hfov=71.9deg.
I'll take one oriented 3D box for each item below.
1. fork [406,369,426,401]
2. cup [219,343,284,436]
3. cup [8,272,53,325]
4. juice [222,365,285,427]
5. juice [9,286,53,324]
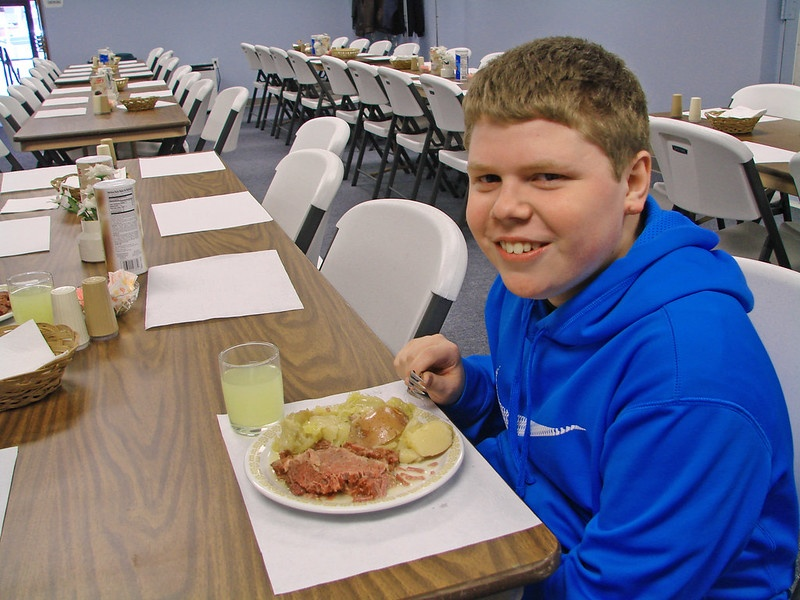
[{"bbox_3d":[0.027,0.140,0.904,0.037,0.040,0.012,30,6,2],"label":"fork"},{"bbox_3d":[-0.200,0.129,0.873,0.109,0.134,0.124,-5,11,-6],"label":"cup"},{"bbox_3d":[-0.739,0.002,1.111,0.069,0.111,0.066,2,23,-1],"label":"cup"},{"bbox_3d":[-0.214,0.143,0.849,0.085,0.096,0.089,-4,20,-10],"label":"juice"},{"bbox_3d":[-0.730,0.010,1.102,0.057,0.064,0.059,-2,16,-14],"label":"juice"}]
